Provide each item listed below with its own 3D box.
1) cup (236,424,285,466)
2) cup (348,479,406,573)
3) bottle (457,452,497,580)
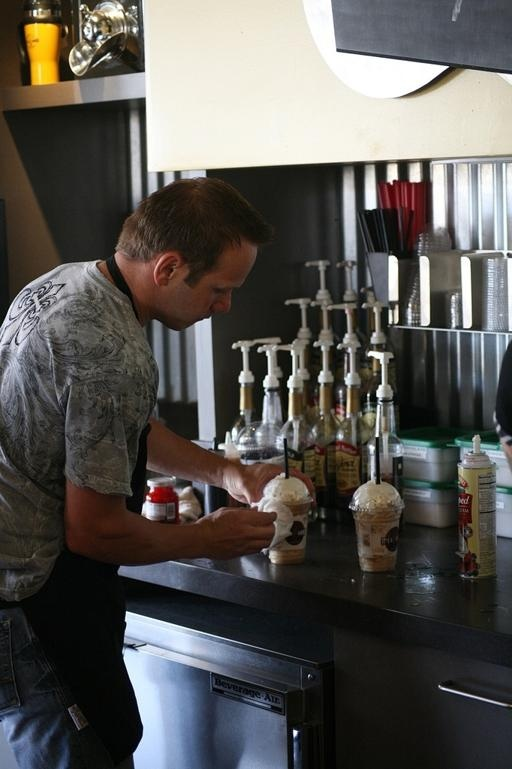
[{"bbox_3d":[0.011,0.124,1.506,0.083,0.050,0.080,-1,5,0],"label":"cup"},{"bbox_3d":[0.213,0.242,1.280,0.085,0.154,0.132,-1,5,7],"label":"cup"},{"bbox_3d":[0.360,0.213,1.178,0.057,0.205,0.032,-1,4,4],"label":"bottle"}]
